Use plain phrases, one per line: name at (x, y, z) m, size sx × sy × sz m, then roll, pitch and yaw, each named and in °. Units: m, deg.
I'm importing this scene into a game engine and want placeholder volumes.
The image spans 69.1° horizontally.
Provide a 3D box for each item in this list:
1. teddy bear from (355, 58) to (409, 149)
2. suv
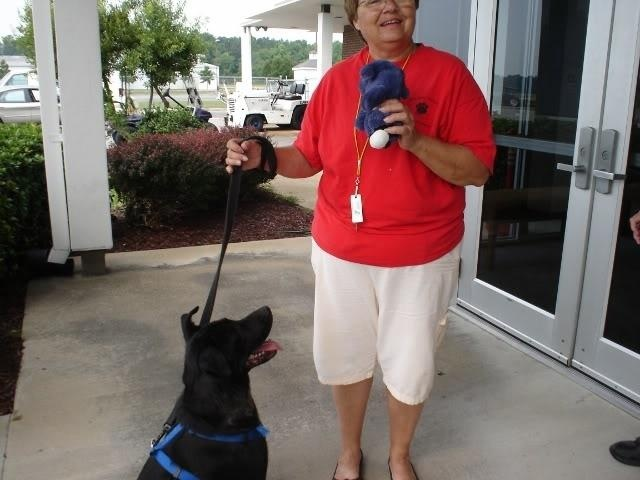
teddy bear at (0.208, -0.467, 1.594) m, size 0.181 × 0.289 × 0.143 m, roll -2°, pitch 15°, yaw 6°
suv at (-3.379, -2.665, 10.100) m, size 2.390 × 1.490 × 1.297 m, roll -7°, pitch 13°, yaw -6°
